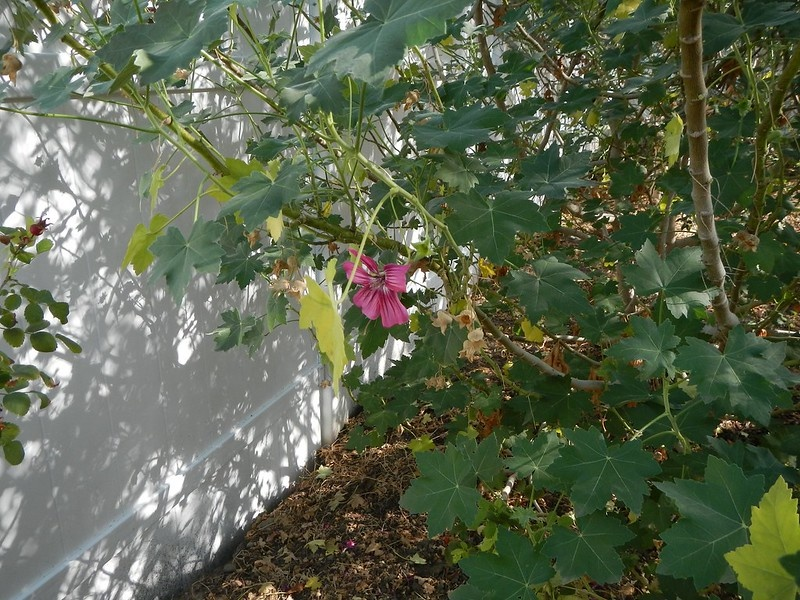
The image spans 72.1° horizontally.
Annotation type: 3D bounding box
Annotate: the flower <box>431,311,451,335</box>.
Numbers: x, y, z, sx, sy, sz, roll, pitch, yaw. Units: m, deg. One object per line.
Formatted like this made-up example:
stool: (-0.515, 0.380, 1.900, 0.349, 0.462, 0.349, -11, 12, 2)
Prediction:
flower: (0.108, 0.064, 1.460, 0.047, 0.020, 0.053, 3, -43, 26)

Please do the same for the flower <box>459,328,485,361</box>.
flower: (0.200, 0.129, 1.485, 0.029, 0.079, 0.077, 51, -40, -12)

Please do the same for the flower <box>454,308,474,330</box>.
flower: (0.172, 0.054, 1.445, 0.049, 0.033, 0.070, 13, -47, 7)
